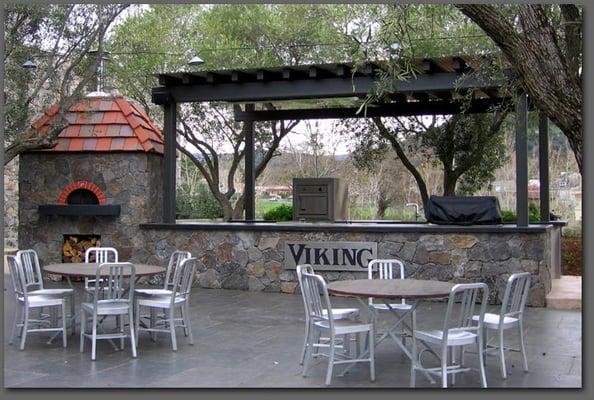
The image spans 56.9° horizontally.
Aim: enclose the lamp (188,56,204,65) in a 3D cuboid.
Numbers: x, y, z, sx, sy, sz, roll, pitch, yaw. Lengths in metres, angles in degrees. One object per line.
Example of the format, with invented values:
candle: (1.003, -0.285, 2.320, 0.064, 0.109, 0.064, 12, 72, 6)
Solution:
lamp: (-2.465, -3.542, 14.021, 0.458, 0.190, 0.469, 4, 8, 34)
